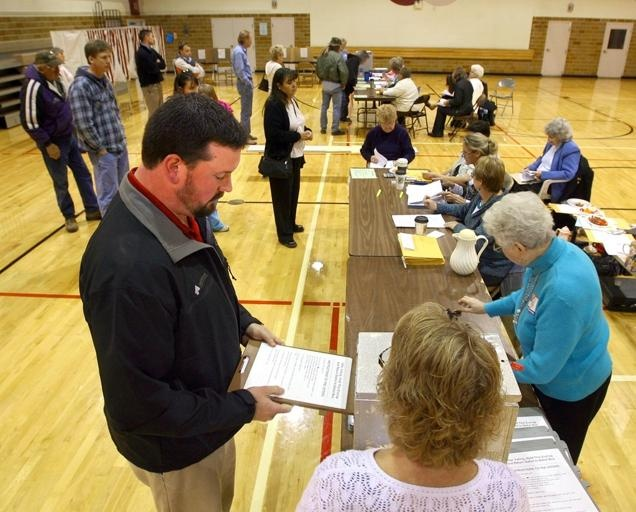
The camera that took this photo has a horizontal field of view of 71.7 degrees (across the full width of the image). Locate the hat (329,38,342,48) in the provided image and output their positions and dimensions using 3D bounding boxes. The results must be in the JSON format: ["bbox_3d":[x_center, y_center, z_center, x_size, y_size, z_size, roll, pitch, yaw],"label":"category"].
[{"bbox_3d":[0.372,-4.272,8.864,0.271,0.151,0.207,-3,34,-9],"label":"hat"}]

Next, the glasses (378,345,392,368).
[{"bbox_3d":[0.267,0.411,1.806,0.072,0.023,0.075,14,34,4],"label":"glasses"}]

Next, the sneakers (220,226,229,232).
[{"bbox_3d":[-1.159,-0.337,5.454,0.132,0.060,0.050,-4,33,28],"label":"sneakers"}]

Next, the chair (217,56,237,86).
[{"bbox_3d":[-3.385,-6.653,15.816,0.901,0.531,0.557,-1,14,44],"label":"chair"}]

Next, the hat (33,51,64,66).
[{"bbox_3d":[-2.913,-2.097,4.794,0.291,0.174,0.208,-8,44,-17],"label":"hat"}]

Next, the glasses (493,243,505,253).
[{"bbox_3d":[1.128,-0.054,2.747,0.067,0.085,0.044,2,14,44],"label":"glasses"}]

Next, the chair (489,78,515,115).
[{"bbox_3d":[4.960,-4.221,11.697,0.462,0.807,0.568,7,14,27],"label":"chair"}]

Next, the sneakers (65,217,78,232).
[{"bbox_3d":[-3.021,-0.377,5.384,0.111,0.137,0.195,-8,21,-34],"label":"sneakers"}]
